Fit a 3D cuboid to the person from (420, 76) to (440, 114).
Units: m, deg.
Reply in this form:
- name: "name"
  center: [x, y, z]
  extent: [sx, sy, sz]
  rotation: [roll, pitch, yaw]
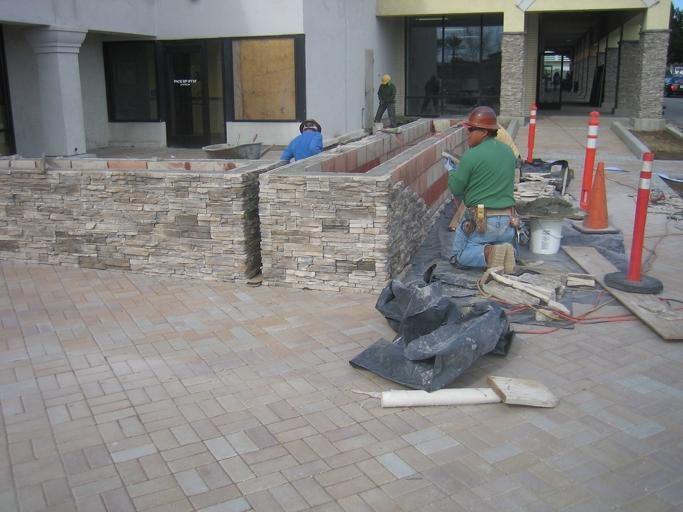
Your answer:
- name: "person"
  center: [4.373, -7.870, 24.279]
  extent: [0.838, 1.820, 0.331]
  rotation: [1, 20, 10]

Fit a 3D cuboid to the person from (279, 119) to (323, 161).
- name: "person"
  center: [-0.650, -1.958, 8.438]
  extent: [0.621, 0.673, 0.894]
  rotation: [1, 16, 10]

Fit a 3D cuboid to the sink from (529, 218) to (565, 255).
- name: "sink"
  center: [3.120, -0.272, 7.069]
  extent: [0.588, 0.449, 0.582]
  rotation: [-10, 13, -42]

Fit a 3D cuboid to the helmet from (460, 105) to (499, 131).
- name: "helmet"
  center: [1.780, -1.793, 6.484]
  extent: [0.429, 0.177, 0.423]
  rotation: [0, 18, -6]
